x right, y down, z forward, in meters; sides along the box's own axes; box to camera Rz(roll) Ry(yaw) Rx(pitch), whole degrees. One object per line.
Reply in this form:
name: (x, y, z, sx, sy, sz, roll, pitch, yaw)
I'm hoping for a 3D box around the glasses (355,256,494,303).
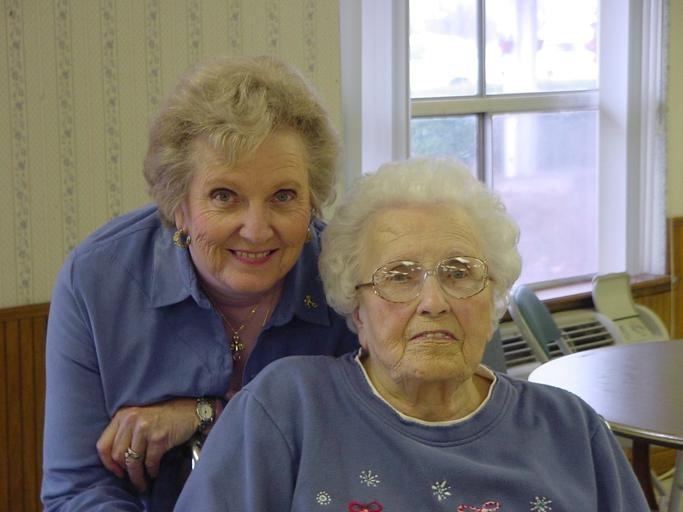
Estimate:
glasses: (0.268, 0.082, 2.911, 0.444, 0.145, 0.095, -5, 4, 4)
